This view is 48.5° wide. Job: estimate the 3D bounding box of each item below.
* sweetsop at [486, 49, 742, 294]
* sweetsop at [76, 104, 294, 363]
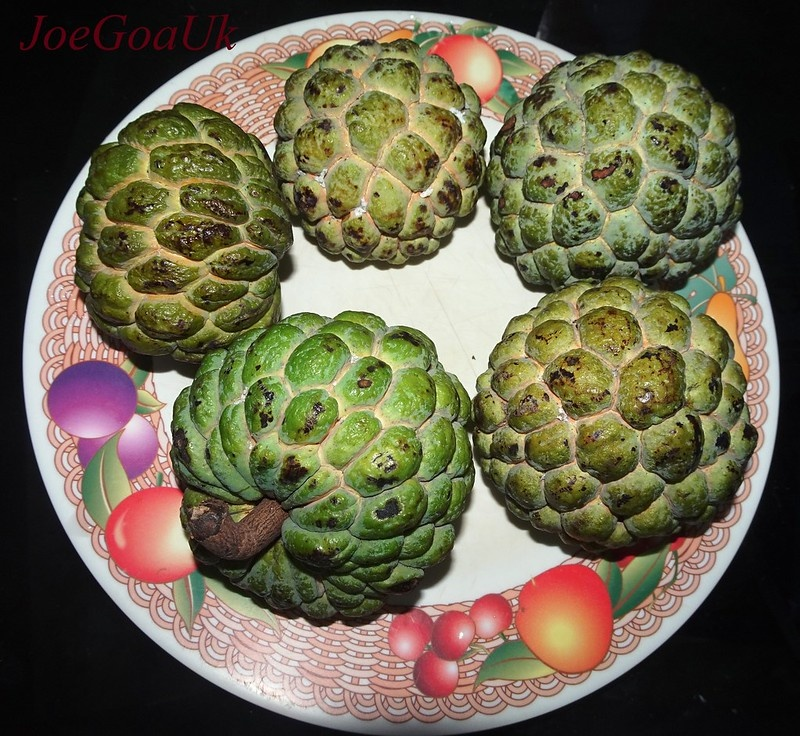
[{"bbox_3d":[0.509,-0.465,2.087,0.584,0.324,0.558,-21,83,-5],"label":"sweetsop"},{"bbox_3d":[-0.481,-0.292,1.933,0.486,0.210,0.558,1,90,-8],"label":"sweetsop"}]
